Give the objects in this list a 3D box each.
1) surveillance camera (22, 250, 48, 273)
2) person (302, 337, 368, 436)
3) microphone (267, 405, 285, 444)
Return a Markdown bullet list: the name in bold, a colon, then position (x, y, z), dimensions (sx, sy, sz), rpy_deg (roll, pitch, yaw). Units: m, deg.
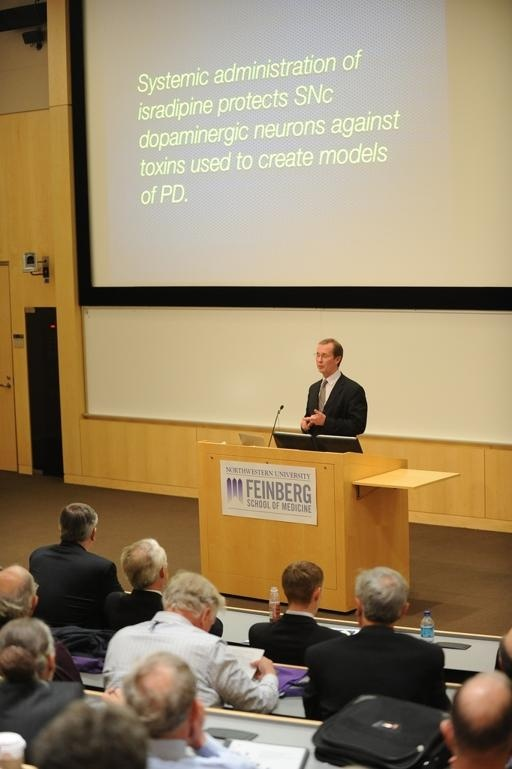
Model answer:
- **surveillance camera**: position (-2.865, -1.590, 8.493), dimensions (0.417, 0.280, 0.096), rpy_deg (0, 2, 30)
- **person**: position (0.599, 0.023, 5.012), dimensions (0.463, 0.743, 0.728), rpy_deg (-1, 2, 9)
- **microphone**: position (0.197, 0.375, 6.386), dimensions (0.087, 0.091, 0.510), rpy_deg (3, -41, -20)
